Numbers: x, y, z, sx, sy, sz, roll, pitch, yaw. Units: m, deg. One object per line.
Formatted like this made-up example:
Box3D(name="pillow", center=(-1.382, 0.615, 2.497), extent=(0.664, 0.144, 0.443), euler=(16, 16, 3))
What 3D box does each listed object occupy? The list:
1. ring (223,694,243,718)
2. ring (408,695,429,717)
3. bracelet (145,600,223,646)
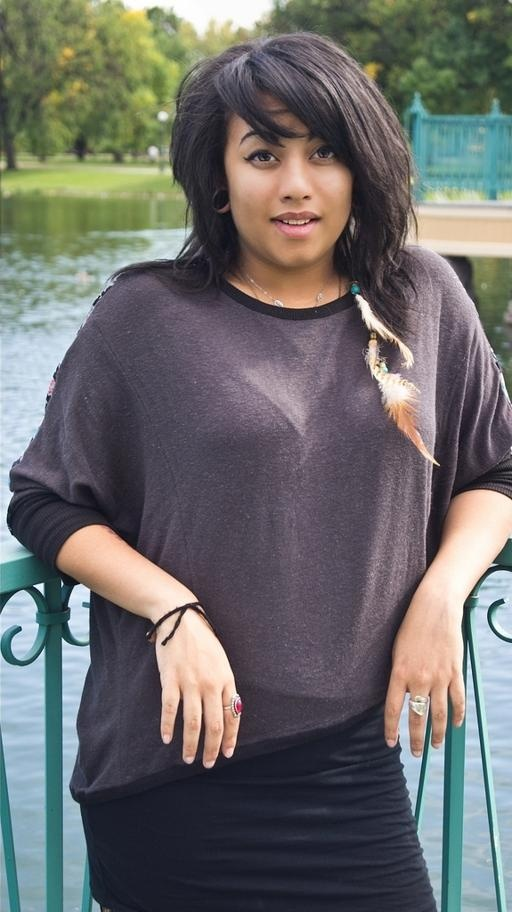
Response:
Box3D(name="ring", center=(-0.030, 0.349, 1.392), extent=(0.013, 0.038, 0.034), euler=(8, 20, 29))
Box3D(name="ring", center=(0.241, 0.370, 1.476), extent=(0.027, 0.027, 0.030), euler=(-1, -5, 0))
Box3D(name="bracelet", center=(-0.106, 0.225, 1.397), extent=(0.077, 0.023, 0.059), euler=(-40, 31, -18))
